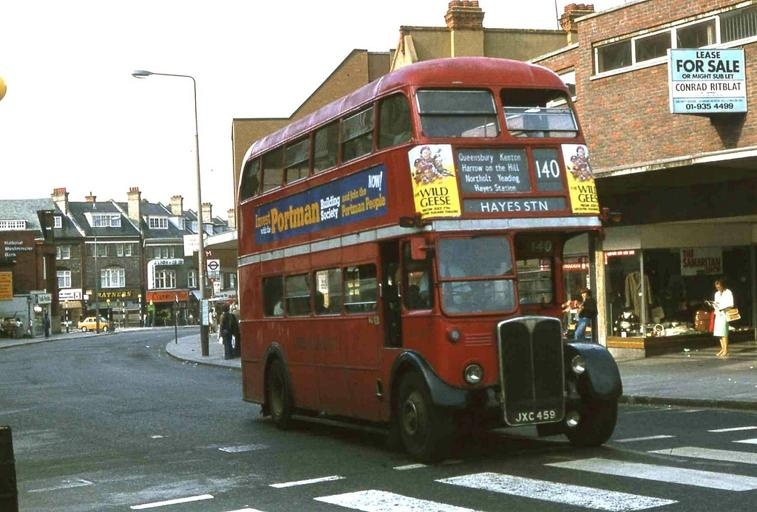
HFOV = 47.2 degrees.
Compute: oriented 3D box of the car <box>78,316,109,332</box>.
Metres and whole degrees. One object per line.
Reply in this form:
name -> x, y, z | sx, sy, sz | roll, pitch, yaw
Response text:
car -> -30.455, 7.237, 92.093 | 2.982, 1.385, 1.749 | -3, 4, -3
